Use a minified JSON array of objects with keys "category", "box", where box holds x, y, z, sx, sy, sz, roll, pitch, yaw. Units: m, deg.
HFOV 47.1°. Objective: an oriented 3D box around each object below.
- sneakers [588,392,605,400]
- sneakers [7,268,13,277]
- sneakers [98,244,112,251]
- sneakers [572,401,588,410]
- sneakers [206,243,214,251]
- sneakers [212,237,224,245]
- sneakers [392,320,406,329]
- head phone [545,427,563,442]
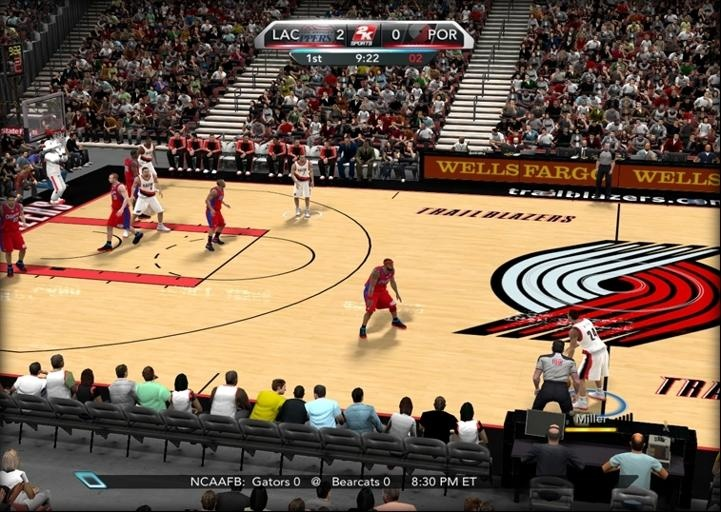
[{"category":"sneakers","box":[4.466,2.627,15.710,0.127,0.142,0.341,-6,13,-17]},{"category":"sneakers","box":[-8.644,0.422,20.510,0.188,0.198,0.183,0,6,-6]},{"category":"sneakers","box":[-6.664,-0.228,21.675,0.347,0.216,0.270,0,7,-12]},{"category":"sneakers","box":[4.063,2.766,15.320,0.269,0.176,0.291,3,8,15]},{"category":"sneakers","box":[-3.903,-0.217,21.634,0.212,0.185,0.196,-1,8,-18]},{"category":"sneakers","box":[-3.764,-0.405,22.067,0.266,0.175,0.307,0,8,-13]},{"category":"sneakers","box":[0.839,1.509,18.107,0.368,0.152,0.134,15,34,18]},{"category":"head phone","box":[2.991,2.726,12.848,0.242,0.275,0.276,4,-25,10]}]
